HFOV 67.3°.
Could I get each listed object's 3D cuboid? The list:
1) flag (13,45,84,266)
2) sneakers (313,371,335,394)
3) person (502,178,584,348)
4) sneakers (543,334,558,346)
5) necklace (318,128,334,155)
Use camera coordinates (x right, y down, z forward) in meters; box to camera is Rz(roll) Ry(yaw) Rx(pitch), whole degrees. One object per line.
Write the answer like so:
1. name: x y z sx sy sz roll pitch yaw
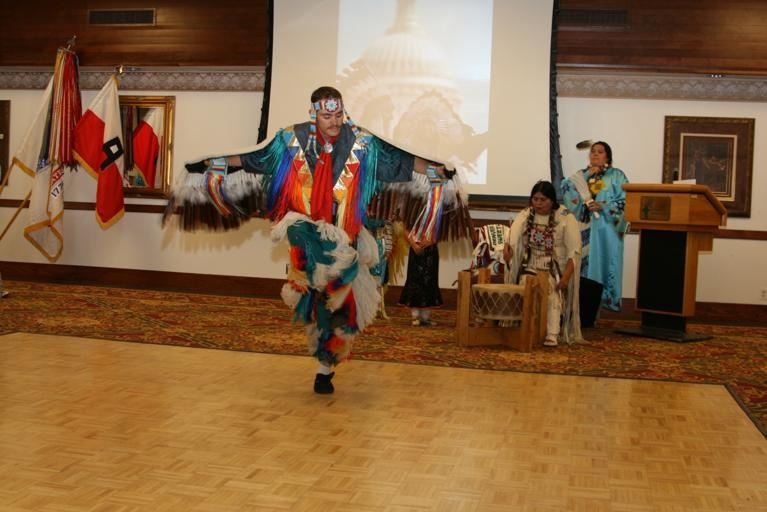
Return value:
1. flag: -4.376 -1.312 7.543 0.780 2.789 0.440 -3 9 -31
2. sneakers: -0.396 0.843 3.844 0.144 0.122 0.117 0 8 -14
3. person: 1.481 0.054 5.314 0.752 1.452 0.411 5 8 21
4. sneakers: 1.499 0.758 5.188 0.134 0.101 0.064 1 8 -7
5. necklace: -0.390 -0.752 3.813 0.108 0.153 0.061 3 8 9
